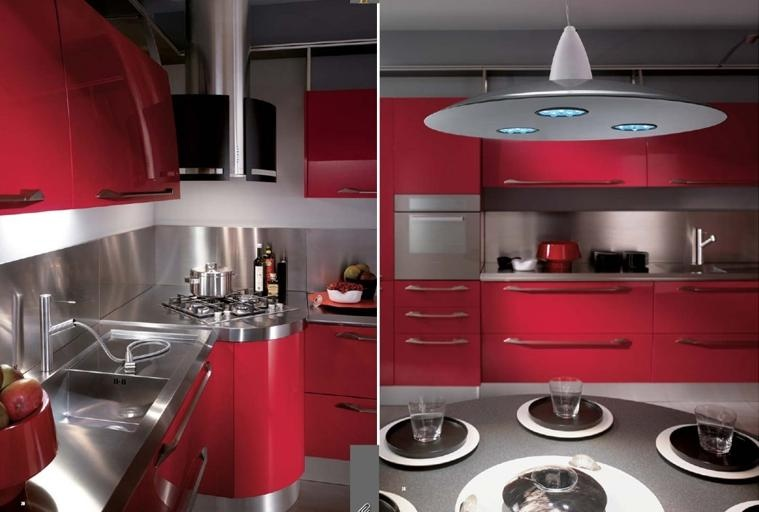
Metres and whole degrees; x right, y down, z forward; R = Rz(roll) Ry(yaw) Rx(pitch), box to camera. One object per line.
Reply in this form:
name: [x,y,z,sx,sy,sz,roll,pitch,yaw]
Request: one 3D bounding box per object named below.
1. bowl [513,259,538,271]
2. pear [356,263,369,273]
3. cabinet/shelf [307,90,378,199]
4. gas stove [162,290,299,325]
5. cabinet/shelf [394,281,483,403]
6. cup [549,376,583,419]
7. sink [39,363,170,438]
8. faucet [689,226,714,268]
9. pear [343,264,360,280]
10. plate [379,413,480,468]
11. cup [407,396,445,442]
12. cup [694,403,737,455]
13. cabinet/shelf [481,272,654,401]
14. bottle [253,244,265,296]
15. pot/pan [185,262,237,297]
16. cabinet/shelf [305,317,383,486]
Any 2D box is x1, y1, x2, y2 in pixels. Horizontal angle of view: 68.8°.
bowl: [0.386,0.021,1.476,0.066,0.033,0.098,2,4,14]
pear: [-0.081,0.053,2.702,0.051,0.019,0.037,5,11,-8]
cabinet/shelf: [-0.186,-0.534,2.559,0.300,0.508,0.187,0,4,-18]
gas stove: [-0.684,0.219,2.517,0.431,0.080,0.483,-2,5,-42]
cabinet/shelf: [0.173,0.205,1.474,0.252,0.287,0.230,-1,-7,8]
cup: [0.446,0.331,1.304,0.087,0.081,0.093,2,-10,0]
sink: [-0.918,0.470,1.854,0.361,0.151,0.178,2,4,17]
faucet: [0.774,-0.023,1.331,0.043,0.089,0.097,3,4,26]
pear: [-0.129,0.077,2.669,0.073,0.064,0.078,0,4,-22]
plate: [0.104,0.425,1.331,0.194,0.020,0.195,7,-5,-10]
cup: [0.111,0.395,1.330,0.094,0.084,0.098,-2,-15,-1]
cup: [0.737,0.388,1.212,0.087,0.092,0.087,11,-16,3]
cabinet/shelf: [0.456,0.196,1.508,0.479,0.272,0.271,1,-1,-6]
bottle: [-0.597,0.057,2.750,0.049,0.237,0.255,0,4,-14]
pot/pan: [-0.818,0.114,2.692,0.244,0.156,0.181,-8,8,-34]
cabinet/shelf: [-0.177,0.644,2.364,0.296,0.773,0.232,1,4,-5]
